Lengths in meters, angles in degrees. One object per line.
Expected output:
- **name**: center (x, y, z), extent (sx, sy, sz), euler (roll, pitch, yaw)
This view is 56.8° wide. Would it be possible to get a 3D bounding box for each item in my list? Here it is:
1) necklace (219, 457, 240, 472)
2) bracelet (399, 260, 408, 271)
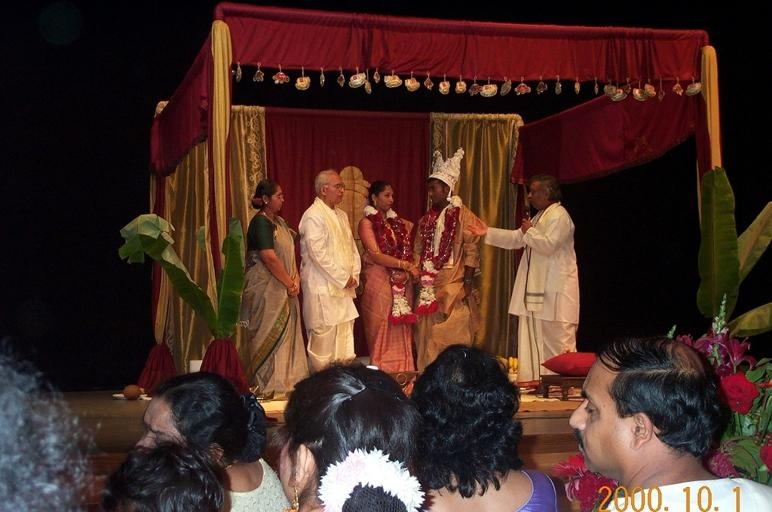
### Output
- **necklace**: center (-0.679, 0.894, 3.082), extent (0.050, 0.056, 0.055), euler (3, -3, 16)
- **bracelet**: center (0.160, 0.080, 6.292), extent (0.056, 0.087, 0.036), euler (0, 1, 3)
